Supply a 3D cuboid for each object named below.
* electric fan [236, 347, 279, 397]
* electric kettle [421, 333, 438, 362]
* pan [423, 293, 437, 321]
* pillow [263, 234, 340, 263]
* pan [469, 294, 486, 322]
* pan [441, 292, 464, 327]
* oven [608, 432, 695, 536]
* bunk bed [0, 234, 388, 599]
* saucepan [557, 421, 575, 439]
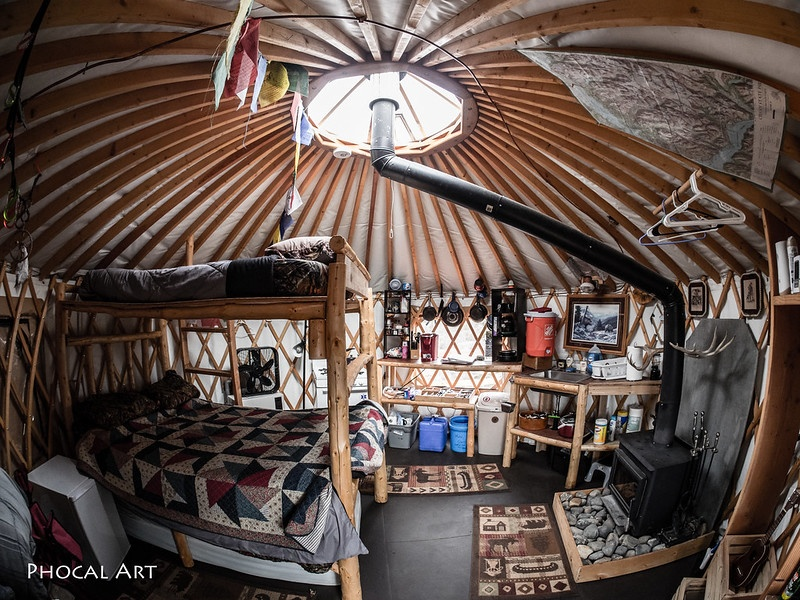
[{"bbox_3d":[-1.753,0.848,6.252,0.555,0.527,0.147,6,-8,-39],"label":"electric fan"},{"bbox_3d":[0.368,0.590,6.525,0.231,0.341,0.159,0,2,-21],"label":"electric kettle"},{"bbox_3d":[0.374,0.082,6.878,0.195,0.316,0.098,-4,-7,14],"label":"pan"},{"bbox_3d":[-0.699,-0.367,3.725,0.418,0.151,0.510,0,-9,4],"label":"pillow"},{"bbox_3d":[0.965,0.093,6.573,0.227,0.304,0.124,-1,-6,25],"label":"pan"},{"bbox_3d":[0.694,0.117,6.836,0.260,0.421,0.182,-4,-8,17],"label":"pan"},{"bbox_3d":[2.090,1.561,4.481,0.564,0.687,0.572,7,18,6],"label":"oven"},{"bbox_3d":[-1.624,1.009,4.927,3.212,2.501,2.328,-1,12,13],"label":"bunk bed"},{"bbox_3d":[1.727,1.350,5.421,0.145,0.134,0.149,1,-10,3],"label":"saucepan"}]
